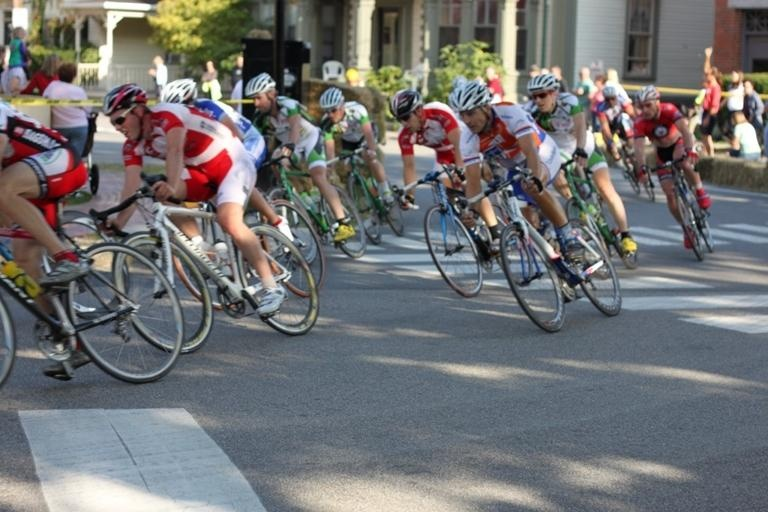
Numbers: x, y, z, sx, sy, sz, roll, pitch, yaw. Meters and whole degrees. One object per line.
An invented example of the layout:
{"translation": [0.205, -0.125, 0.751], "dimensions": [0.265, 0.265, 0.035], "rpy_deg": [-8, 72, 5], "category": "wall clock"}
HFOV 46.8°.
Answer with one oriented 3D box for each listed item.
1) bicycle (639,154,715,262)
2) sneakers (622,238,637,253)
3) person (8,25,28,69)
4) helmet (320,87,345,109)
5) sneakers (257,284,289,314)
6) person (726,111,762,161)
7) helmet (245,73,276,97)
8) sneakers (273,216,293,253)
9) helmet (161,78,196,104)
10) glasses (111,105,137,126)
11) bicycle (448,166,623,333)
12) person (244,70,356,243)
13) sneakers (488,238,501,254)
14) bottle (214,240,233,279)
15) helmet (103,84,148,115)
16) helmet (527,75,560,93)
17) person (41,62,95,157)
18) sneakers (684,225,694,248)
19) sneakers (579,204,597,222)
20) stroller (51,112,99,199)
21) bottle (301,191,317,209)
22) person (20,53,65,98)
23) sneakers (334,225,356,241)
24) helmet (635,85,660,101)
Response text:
{"translation": [4.454, -0.774, 12.981], "dimensions": [0.887, 1.434, 2.271], "rpy_deg": [-18, 2, 25], "category": "bicycle"}
{"translation": [3.204, -0.128, 11.582], "dimensions": [0.217, 0.168, 0.084], "rpy_deg": [26, -40, -27], "category": "sneakers"}
{"translation": [-8.503, -4.827, 20.443], "dimensions": [0.442, 0.943, 0.725], "rpy_deg": [-2, 11, -22], "category": "person"}
{"translation": [-0.706, -2.204, 12.428], "dimensions": [0.292, 0.177, 0.446], "rpy_deg": [-1, 31, 11], "category": "helmet"}
{"translation": [-1.038, 0.383, 8.074], "dimensions": [0.150, 0.162, 0.359], "rpy_deg": [-28, 14, 42], "category": "sneakers"}
{"translation": [9.065, -3.010, 22.026], "dimensions": [0.691, 1.145, 1.846], "rpy_deg": [6, 12, 21], "category": "person"}
{"translation": [-1.540, -2.242, 11.430], "dimensions": [0.327, 0.253, 0.469], "rpy_deg": [10, 27, 40], "category": "helmet"}
{"translation": [-1.021, -0.214, 8.806], "dimensions": [0.120, 0.360, 0.151], "rpy_deg": [-40, -15, 30], "category": "sneakers"}
{"translation": [-2.074, -1.633, 8.893], "dimensions": [0.291, 0.159, 0.433], "rpy_deg": [4, 29, 17], "category": "helmet"}
{"translation": [-2.202, -1.190, 7.443], "dimensions": [0.181, 0.060, 0.178], "rpy_deg": [-49, 26, -26], "category": "glasses"}
{"translation": [1.759, -0.063, 9.138], "dimensions": [0.893, 1.593, 2.264], "rpy_deg": [-24, -12, 37], "category": "bicycle"}
{"translation": [-1.250, -1.244, 11.565], "dimensions": [1.332, 2.360, 0.928], "rpy_deg": [-19, 4, -35], "category": "person"}
{"translation": [1.253, -0.103, 10.040], "dimensions": [0.153, 0.151, 0.117], "rpy_deg": [1, 6, 18], "category": "sneakers"}
{"translation": [-1.479, 0.015, 8.081], "dimensions": [0.124, 0.365, 0.141], "rpy_deg": [-9, -8, -5], "category": "bottle"}
{"translation": [-2.220, -1.330, 7.530], "dimensions": [0.349, 0.259, 0.402], "rpy_deg": [-2, 11, -18], "category": "helmet"}
{"translation": [2.055, -2.170, 11.151], "dimensions": [0.242, 0.185, 0.343], "rpy_deg": [4, 6, 41], "category": "helmet"}
{"translation": [-5.487, -2.288, 15.200], "dimensions": [0.759, 2.186, 0.688], "rpy_deg": [2, 30, -12], "category": "person"}
{"translation": [4.355, -0.280, 12.508], "dimensions": [0.111, 0.290, 0.201], "rpy_deg": [-2, 8, 7], "category": "sneakers"}
{"translation": [2.498, -0.540, 10.821], "dimensions": [0.199, 0.173, 0.491], "rpy_deg": [28, 8, 7], "category": "sneakers"}
{"translation": [-5.369, -1.736, 15.284], "dimensions": [0.772, 1.540, 0.757], "rpy_deg": [-2, -8, -2], "category": "stroller"}
{"translation": [-0.997, -0.748, 11.701], "dimensions": [0.199, 0.206, 0.320], "rpy_deg": [-19, 5, -1], "category": "bottle"}
{"translation": [-6.255, -3.565, 16.255], "dimensions": [0.355, 0.697, 0.951], "rpy_deg": [-21, 37, -31], "category": "person"}
{"translation": [-0.522, -0.329, 11.836], "dimensions": [0.277, 0.166, 0.155], "rpy_deg": [-6, 21, 4], "category": "sneakers"}
{"translation": [3.912, -2.395, 13.051], "dimensions": [0.221, 0.184, 0.316], "rpy_deg": [7, 16, 38], "category": "helmet"}
